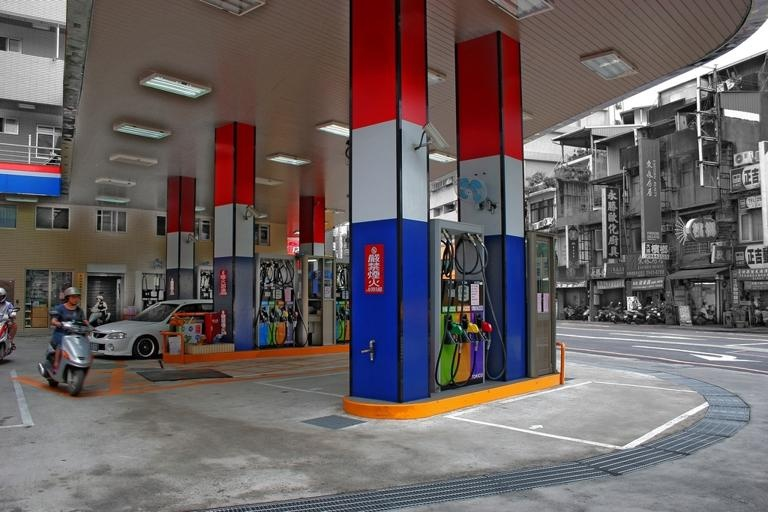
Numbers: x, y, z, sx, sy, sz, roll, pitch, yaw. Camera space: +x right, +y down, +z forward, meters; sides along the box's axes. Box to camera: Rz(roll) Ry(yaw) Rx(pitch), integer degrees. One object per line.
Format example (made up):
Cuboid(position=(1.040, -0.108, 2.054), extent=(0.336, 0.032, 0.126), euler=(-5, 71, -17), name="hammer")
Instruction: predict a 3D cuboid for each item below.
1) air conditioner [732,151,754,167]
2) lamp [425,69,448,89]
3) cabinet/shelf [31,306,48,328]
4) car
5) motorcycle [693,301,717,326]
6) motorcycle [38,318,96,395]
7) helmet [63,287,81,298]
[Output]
Cuboid(position=(19.432, -5.187, 29.775), extent=(0.652, 0.811, 1.191), euler=(3, -4, -4), name="air conditioner")
Cuboid(position=(1.337, -4.454, 13.740), extent=(0.443, 0.178, 0.827), euler=(-2, -5, 7), name="lamp")
Cuboid(position=(-15.413, 2.761, 24.609), extent=(0.838, 1.203, 0.605), euler=(4, -9, -40), name="cabinet/shelf")
Cuboid(position=(-7.056, 2.179, 16.723), extent=(2.985, 1.198, 1.704), euler=(6, -8, -36), name="car")
Cuboid(position=(18.093, 3.253, 30.997), extent=(0.878, 1.271, 0.455), euler=(2, -15, 17), name="motorcycle")
Cuboid(position=(-6.558, 2.097, 11.465), extent=(0.543, 1.490, 1.408), euler=(4, -7, -44), name="motorcycle")
Cuboid(position=(-6.472, 0.758, 11.447), extent=(0.291, 0.235, 0.253), euler=(-8, 2, -35), name="helmet")
